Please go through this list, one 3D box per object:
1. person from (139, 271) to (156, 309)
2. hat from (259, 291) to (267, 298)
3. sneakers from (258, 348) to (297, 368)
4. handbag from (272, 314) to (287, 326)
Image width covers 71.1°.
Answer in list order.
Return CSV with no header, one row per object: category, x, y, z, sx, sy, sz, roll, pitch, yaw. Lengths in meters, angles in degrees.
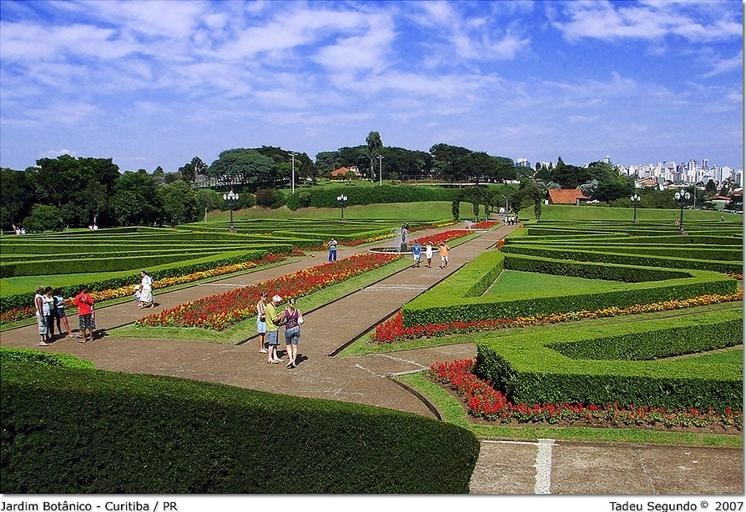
person,-8.558,1.233,19.594,0.466,1.238,0.630,-10,-1,32
hat,-3.024,1.061,14.345,0.201,0.107,0.256,0,1,17
sneakers,-2.461,2.644,13.460,0.656,0.187,0.208,11,31,10
handbag,-2.326,1.600,13.188,0.312,0.116,0.311,-36,-22,-1
